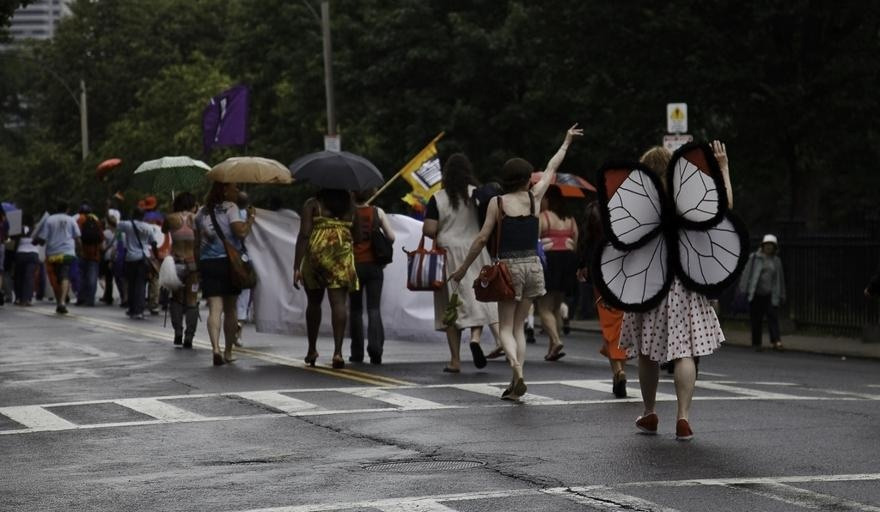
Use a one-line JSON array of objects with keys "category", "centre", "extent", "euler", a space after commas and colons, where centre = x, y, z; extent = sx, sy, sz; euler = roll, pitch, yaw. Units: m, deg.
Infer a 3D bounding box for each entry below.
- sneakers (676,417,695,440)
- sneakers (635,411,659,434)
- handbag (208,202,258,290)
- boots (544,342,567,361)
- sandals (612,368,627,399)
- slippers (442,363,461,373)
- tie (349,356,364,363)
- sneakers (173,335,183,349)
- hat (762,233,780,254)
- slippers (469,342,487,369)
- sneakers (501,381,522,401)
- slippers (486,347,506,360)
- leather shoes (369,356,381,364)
[{"category": "sneakers", "centre": [3.023, 2.108, 14.786], "extent": [0.236, 0.254, 0.195], "euler": [2, 0, -3]}, {"category": "sneakers", "centre": [2.592, 2.075, 15.113], "extent": [0.295, 0.251, 0.224], "euler": [2, 0, 20]}, {"category": "handbag", "centre": [-3.341, -0.107, 19.408], "extent": [0.463, 1.272, 0.735], "euler": [-23, -5, -16]}, {"category": "boots", "centre": [1.946, 1.654, 20.500], "extent": [0.166, 0.219, 0.520], "euler": [-14, -5, -22]}, {"category": "sandals", "centre": [2.568, 1.811, 17.120], "extent": [0.148, 0.406, 0.160], "euler": [-1, 3, -11]}, {"category": "slippers", "centre": [0.177, 1.742, 18.772], "extent": [0.239, 0.137, 0.123], "euler": [8, 6, 38]}, {"category": "tie", "centre": [-1.394, 1.694, 19.792], "extent": [0.103, 0.132, 0.194], "euler": [1, 3, -26]}, {"category": "sneakers", "centre": [-4.746, 1.528, 21.718], "extent": [0.117, 0.143, 0.338], "euler": [-1, -3, -4]}, {"category": "hat", "centre": [6.701, -0.241, 24.333], "extent": [0.331, 0.262, 0.471], "euler": [4, -14, 9]}, {"category": "slippers", "centre": [0.597, 1.547, 18.971], "extent": [0.200, 0.495, 0.211], "euler": [-18, 16, 4]}, {"category": "sneakers", "centre": [0.989, 1.891, 16.688], "extent": [0.168, 0.169, 0.358], "euler": [24, -17, -15]}, {"category": "slippers", "centre": [0.992, 1.659, 20.428], "extent": [0.193, 0.227, 0.594], "euler": [-4, -7, 43]}, {"category": "leather shoes", "centre": [-1.052, 1.702, 19.651], "extent": [0.113, 0.121, 0.120], "euler": [6, -6, -7]}]
